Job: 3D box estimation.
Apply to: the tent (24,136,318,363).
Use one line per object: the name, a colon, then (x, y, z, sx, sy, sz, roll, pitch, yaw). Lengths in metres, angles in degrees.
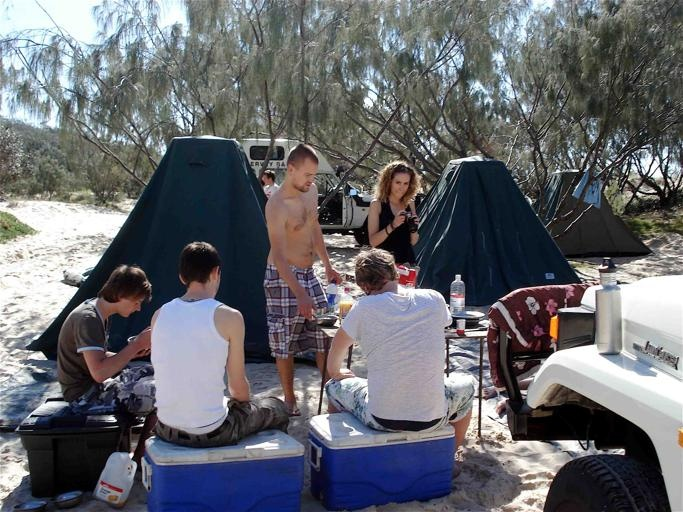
tent: (-1.639, -0.260, 6.931, 2.018, 2.053, 2.203, 3, 8, -6)

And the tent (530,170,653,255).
tent: (5.523, -1.178, 13.178, 1.787, 1.275, 2.073, -1, 12, 0)

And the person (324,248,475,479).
person: (0.347, 0.621, 3.880, 0.922, 1.691, 0.979, 0, 18, 4)

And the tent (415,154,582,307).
tent: (2.117, -0.274, 8.482, 1.900, 1.620, 2.154, -4, 11, -12)

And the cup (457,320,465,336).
cup: (0.832, 0.507, 4.156, 0.068, 0.140, 0.079, 0, -2, -3)

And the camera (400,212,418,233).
camera: (0.615, -0.310, 5.336, 0.054, 0.182, 0.144, -11, 13, -41)

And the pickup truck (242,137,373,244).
pickup truck: (-0.725, -1.538, 14.058, 2.597, 1.993, 2.104, -6, 17, -11)

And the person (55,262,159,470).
person: (-1.597, 0.776, 4.062, 0.706, 1.683, 0.747, 2, 13, -18)

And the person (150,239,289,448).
person: (-0.746, 0.471, 3.596, 0.802, 1.390, 0.869, 2, 3, 15)

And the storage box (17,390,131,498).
storage box: (-1.674, 1.176, 3.660, 0.395, 0.449, 0.634, 1, 8, -12)
